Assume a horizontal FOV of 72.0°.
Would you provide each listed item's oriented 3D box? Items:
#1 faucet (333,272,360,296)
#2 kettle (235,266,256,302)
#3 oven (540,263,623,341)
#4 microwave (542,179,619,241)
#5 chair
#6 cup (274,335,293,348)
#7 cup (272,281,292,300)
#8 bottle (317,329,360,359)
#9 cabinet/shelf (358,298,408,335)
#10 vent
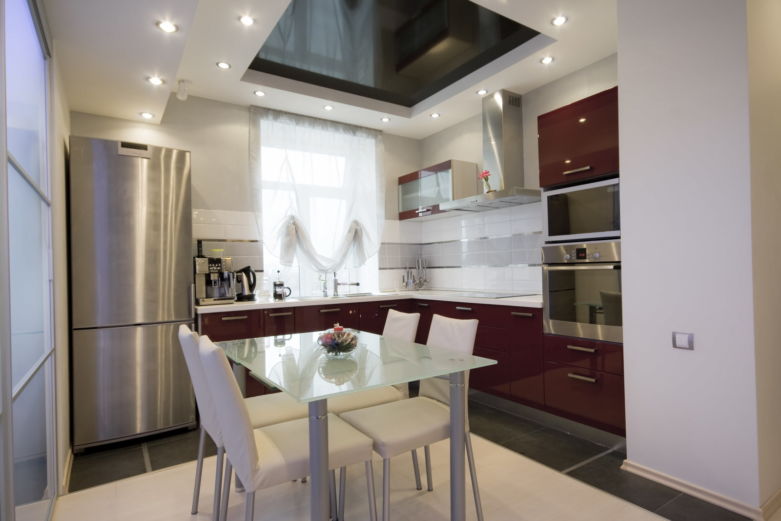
[{"bbox_3d":[-0.538,0.247,5.978,0.225,0.265,0.574,-1,1,-5],"label":"faucet"},{"bbox_3d":[-1.430,0.220,5.274,0.197,0.329,0.423,-1,1,-15],"label":"kettle"},{"bbox_3d":[1.657,0.304,4.440,0.711,0.656,0.502,0,4,37],"label":"oven"},{"bbox_3d":[1.523,-0.386,4.299,0.380,0.471,0.734,1,-1,-36],"label":"microwave"},{"bbox_3d":[-0.391,1.038,3.620,1.888,1.232,1.440,-1,1,-22],"label":"chair"},{"bbox_3d":[-0.802,0.597,3.975,0.103,0.105,0.060,5,-5,-40],"label":"cup"},{"bbox_3d":[-1.098,0.314,5.516,0.203,0.202,0.162,1,-2,-34],"label":"cup"},{"bbox_3d":[-0.311,0.525,3.498,0.198,0.125,0.198,0,0,0],"label":"bottle"},{"bbox_3d":[-0.081,0.560,5.503,0.459,0.430,0.307,2,-5,-33],"label":"cabinet/shelf"},{"bbox_3d":[1.187,-1.197,5.591,1.106,1.056,0.584,-13,12,-14],"label":"vent"}]
